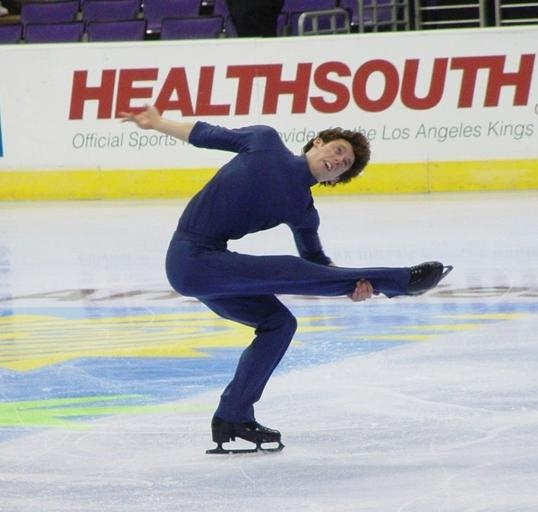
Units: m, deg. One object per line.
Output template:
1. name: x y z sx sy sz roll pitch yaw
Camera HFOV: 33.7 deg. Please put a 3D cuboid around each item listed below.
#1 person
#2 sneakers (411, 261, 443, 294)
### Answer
1. person: 0.031 0.088 3.512 0.953 1.320 0.572 -7 17 -12
2. sneakers: 0.596 0.082 3.365 0.139 0.127 0.086 -3 16 1
